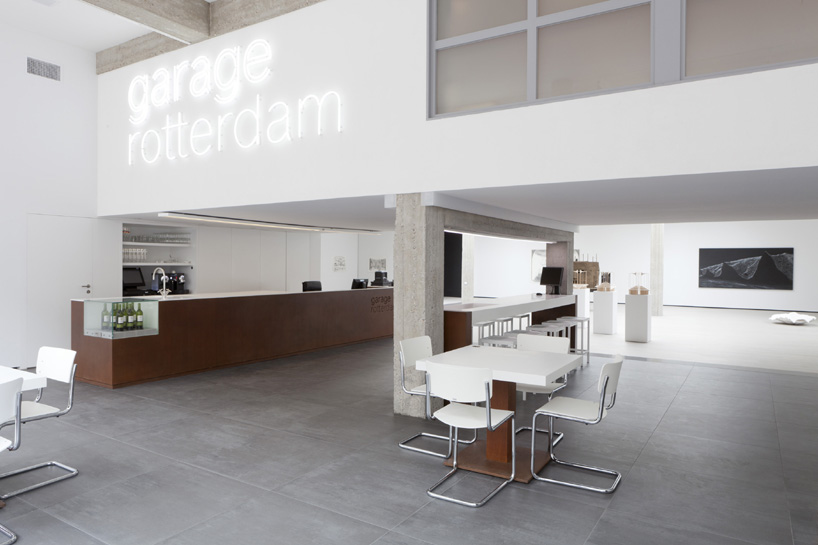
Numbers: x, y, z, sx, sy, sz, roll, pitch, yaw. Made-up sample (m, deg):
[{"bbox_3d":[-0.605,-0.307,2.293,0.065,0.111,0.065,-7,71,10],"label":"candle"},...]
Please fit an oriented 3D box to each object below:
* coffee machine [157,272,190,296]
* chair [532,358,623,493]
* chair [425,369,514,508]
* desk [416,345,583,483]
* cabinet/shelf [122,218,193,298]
[{"bbox_3d":[-5.533,0.264,11.689,0.247,0.465,0.508,3,2,41],"label":"coffee machine"},{"bbox_3d":[1.859,1.599,5.479,0.893,1.312,0.736,3,3,32],"label":"chair"},{"bbox_3d":[0.651,1.642,5.355,0.841,1.359,0.905,1,1,44],"label":"chair"},{"bbox_3d":[1.205,1.598,5.981,1.502,1.293,1.459,2,2,34],"label":"desk"},{"bbox_3d":[-5.942,-0.335,11.754,0.544,1.877,1.649,-3,-3,35],"label":"cabinet/shelf"}]
